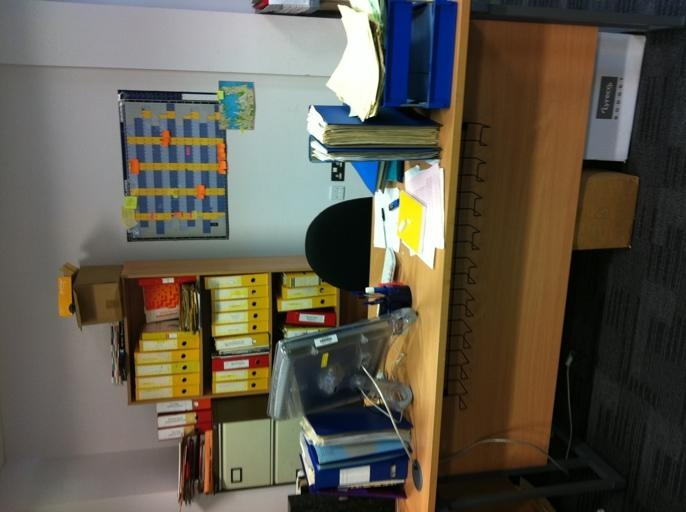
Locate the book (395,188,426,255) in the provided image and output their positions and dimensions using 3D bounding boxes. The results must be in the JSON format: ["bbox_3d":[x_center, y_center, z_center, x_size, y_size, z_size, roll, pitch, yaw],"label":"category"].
[{"bbox_3d":[0.294,-0.153,2.967,0.027,0.216,0.213,-2,25,-13],"label":"book"}]
